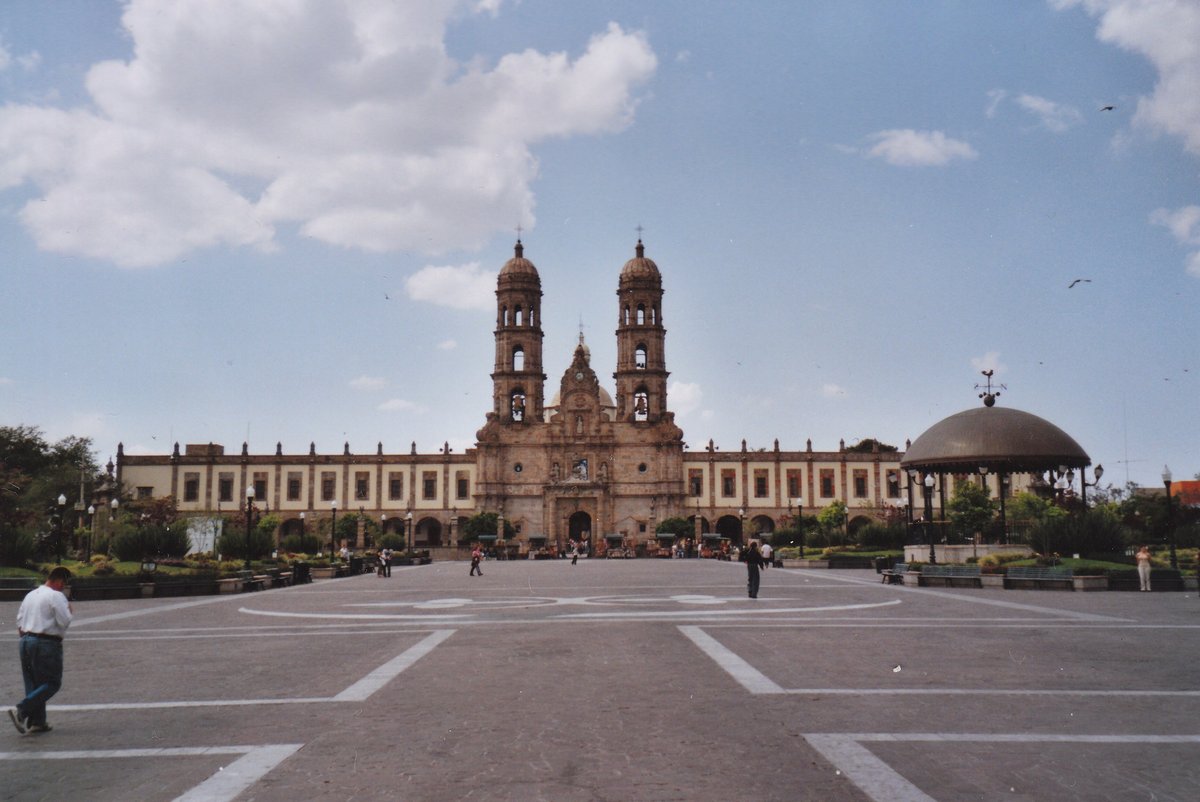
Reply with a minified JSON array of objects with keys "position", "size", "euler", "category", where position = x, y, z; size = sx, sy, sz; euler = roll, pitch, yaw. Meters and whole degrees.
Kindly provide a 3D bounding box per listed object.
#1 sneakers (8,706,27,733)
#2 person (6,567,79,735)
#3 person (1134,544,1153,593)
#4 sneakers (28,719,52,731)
[{"position":[-6.924,3.788,13.798],"size":[0.116,0.336,0.134],"euler":[-5,19,36],"category":"sneakers"},{"position":[-6.910,3.040,14.326],"size":[0.608,1.971,1.215],"euler":[3,-11,-24],"category":"person"},{"position":[15.107,4.641,32.371],"size":[0.363,1.291,1.842],"euler":[-6,-11,25],"category":"person"},{"position":[-6.680,3.884,13.860],"size":[0.245,0.126,0.159],"euler":[5,-11,-31],"category":"sneakers"}]
